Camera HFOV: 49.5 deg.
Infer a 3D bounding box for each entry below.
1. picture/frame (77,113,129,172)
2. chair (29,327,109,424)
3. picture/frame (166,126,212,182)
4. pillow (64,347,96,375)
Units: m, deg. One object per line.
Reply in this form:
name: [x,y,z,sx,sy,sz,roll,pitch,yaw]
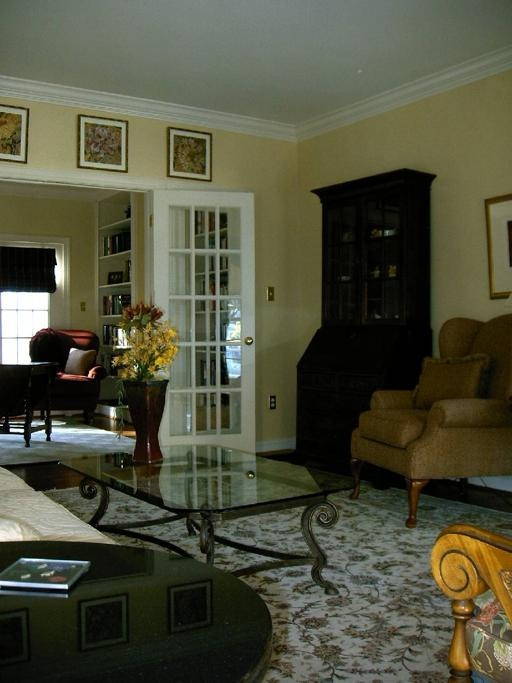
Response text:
picture/frame: [-1.235,-1.585,4.414,0.523,0.489,0.039,2,5,-29]
chair: [-2.118,0.440,7.211,1.229,1.366,1.076,1,-5,-18]
picture/frame: [-0.590,-1.603,4.739,0.538,0.518,0.039,0,-1,-34]
pillow: [-2.192,0.262,6.957,0.319,0.311,0.132,2,-30,18]
